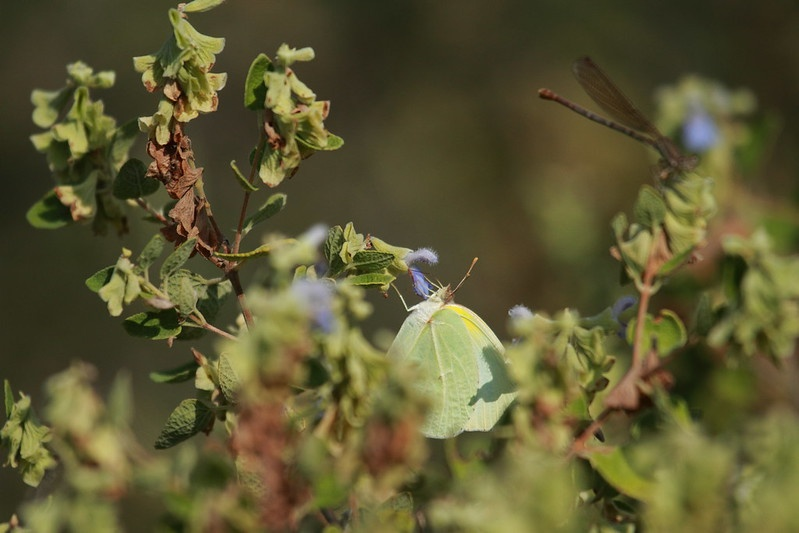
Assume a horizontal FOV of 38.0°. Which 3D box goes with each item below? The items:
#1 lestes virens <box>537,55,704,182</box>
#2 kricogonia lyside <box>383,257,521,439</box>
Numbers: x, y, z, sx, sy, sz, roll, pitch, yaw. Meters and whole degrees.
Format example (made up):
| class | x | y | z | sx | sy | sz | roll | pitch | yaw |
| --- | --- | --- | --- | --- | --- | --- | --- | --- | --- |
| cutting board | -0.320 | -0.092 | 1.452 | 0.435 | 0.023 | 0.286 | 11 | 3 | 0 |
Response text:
| class | x | y | z | sx | sy | sz | roll | pitch | yaw |
| --- | --- | --- | --- | --- | --- | --- | --- | --- | --- |
| lestes virens | 0.396 | -0.253 | 2.103 | 0.338 | 0.157 | 0.135 | 29 | 35 | 27 |
| kricogonia lyside | 0.124 | 0.214 | 2.717 | 0.257 | 0.370 | 0.517 | -14 | -4 | -1 |
